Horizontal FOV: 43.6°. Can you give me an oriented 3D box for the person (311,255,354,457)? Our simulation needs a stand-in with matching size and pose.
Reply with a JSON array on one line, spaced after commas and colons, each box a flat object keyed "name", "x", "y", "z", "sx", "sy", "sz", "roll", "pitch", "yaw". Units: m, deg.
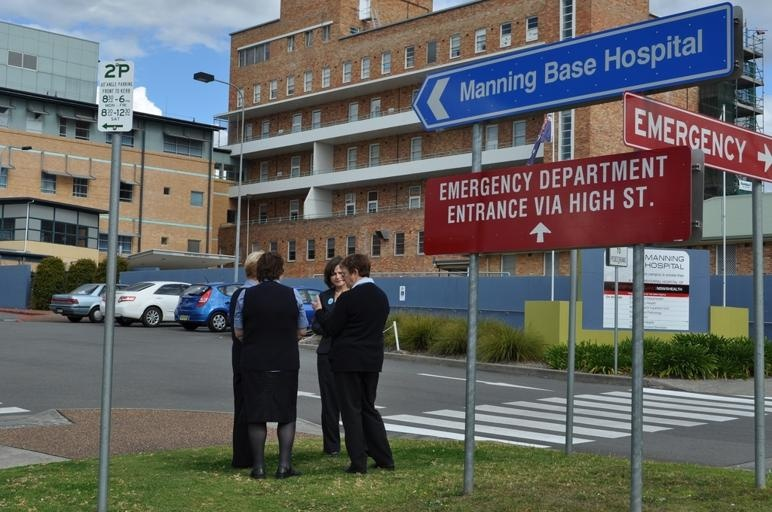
[{"name": "person", "x": -0.785, "y": 1.517, "z": 14.122, "sx": 0.754, "sy": 2.487, "sz": 0.681, "roll": 0, "pitch": -2, "yaw": -20}]

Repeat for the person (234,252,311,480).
[{"name": "person", "x": -1.724, "y": 1.509, "z": 13.328, "sx": 1.059, "sy": 3.039, "sz": 0.981, "roll": 5, "pitch": -9, "yaw": -37}]

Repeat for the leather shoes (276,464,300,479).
[{"name": "leather shoes", "x": -1.308, "y": 2.895, "z": 12.885, "sx": 0.124, "sy": 0.130, "sz": 0.335, "roll": 1, "pitch": 0, "yaw": 36}]

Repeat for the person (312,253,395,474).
[{"name": "person", "x": -0.350, "y": 1.472, "z": 13.636, "sx": 1.107, "sy": 2.874, "sz": 1.056, "roll": 1, "pitch": -1, "yaw": -21}]

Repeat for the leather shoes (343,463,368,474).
[{"name": "leather shoes", "x": -0.412, "y": 2.870, "z": 13.093, "sx": 0.120, "sy": 0.185, "sz": 0.281, "roll": 3, "pitch": 3, "yaw": -45}]
